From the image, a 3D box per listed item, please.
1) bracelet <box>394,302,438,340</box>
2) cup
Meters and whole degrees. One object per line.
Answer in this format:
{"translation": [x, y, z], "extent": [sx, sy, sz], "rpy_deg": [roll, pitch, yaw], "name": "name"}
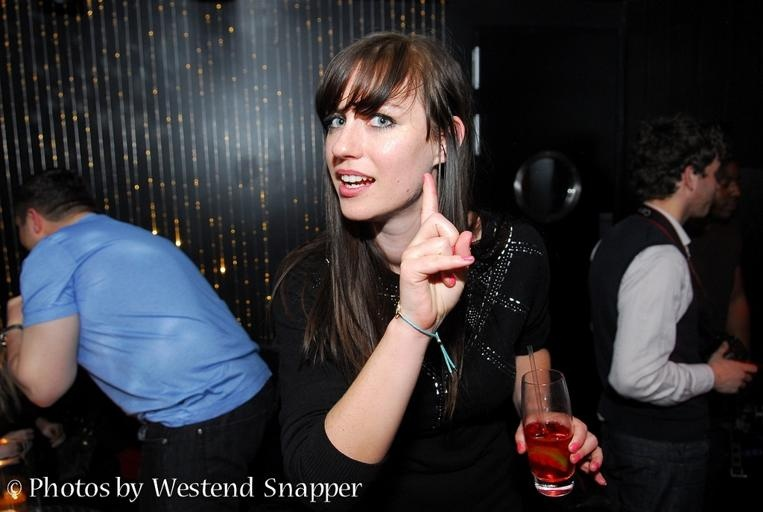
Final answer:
{"translation": [0.139, 0.264, 2.465], "extent": [0.156, 0.040, 0.126], "rpy_deg": [27, -6, -11], "name": "bracelet"}
{"translation": [0.679, 0.760, 2.676], "extent": [0.203, 0.602, 0.176], "rpy_deg": [0, 12, 17], "name": "cup"}
